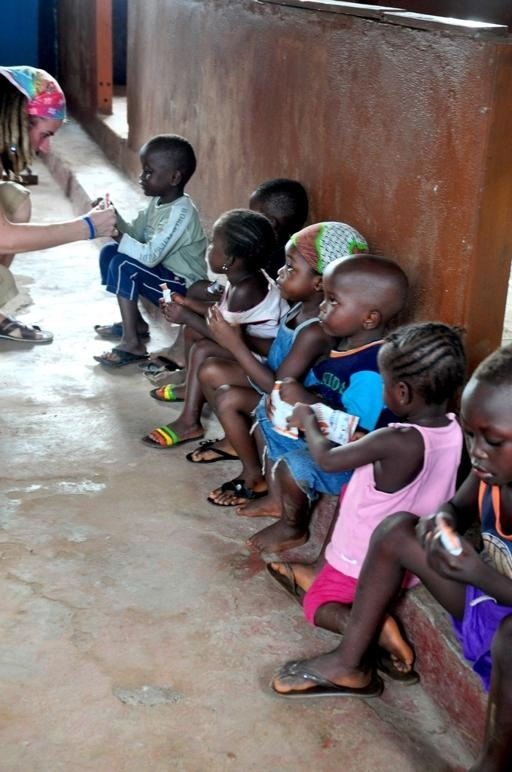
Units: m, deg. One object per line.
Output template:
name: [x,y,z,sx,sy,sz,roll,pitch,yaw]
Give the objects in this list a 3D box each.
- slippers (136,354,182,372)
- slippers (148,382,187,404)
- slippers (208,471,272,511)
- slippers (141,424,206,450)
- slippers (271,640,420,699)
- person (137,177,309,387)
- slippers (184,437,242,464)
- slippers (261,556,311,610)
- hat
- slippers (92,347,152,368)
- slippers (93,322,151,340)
slippers: [-0.525,-0.113,3.495,0.160,0.043,0.118,-12,24,-40]
slippers: [-0.439,0.029,3.176,0.198,0.041,0.078,2,29,-5]
slippers: [-0.061,0.385,2.364,0.243,0.052,0.089,-10,30,-18]
slippers: [-0.375,0.209,2.765,0.230,0.054,0.103,-4,22,-24]
slippers: [0.211,0.672,1.524,0.353,0.074,0.135,-1,16,-6]
person: [-0.169,-0.261,2.680,0.635,0.945,0.400,2,29,2]
slippers: [-0.181,0.265,2.668,0.178,0.051,0.104,-1,16,-8]
slippers: [0.094,0.567,1.882,0.041,0.055,0.157,5,25,-30]
hat: [0.250,-0.441,2.117,0.228,0.174,0.171,32,16,11]
slippers: [-0.755,-0.168,3.566,0.320,0.084,0.116,-3,14,-26]
slippers: [-0.819,-0.333,3.838,0.259,0.081,0.134,0,10,-12]
